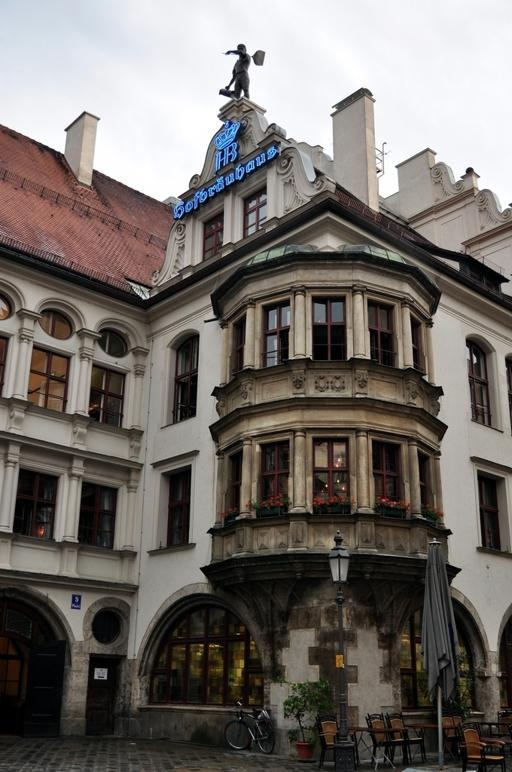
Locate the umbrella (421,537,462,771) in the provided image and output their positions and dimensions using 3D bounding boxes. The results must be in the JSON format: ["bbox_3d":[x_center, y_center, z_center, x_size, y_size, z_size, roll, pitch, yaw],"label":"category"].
[{"bbox_3d":[2.806,3.638,11.283,0.419,2.448,0.589,6,-20,-13],"label":"umbrella"}]

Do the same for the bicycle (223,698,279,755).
[{"bbox_3d":[-0.098,6.956,14.828,0.660,0.888,1.526,22,-48,-26],"label":"bicycle"}]
